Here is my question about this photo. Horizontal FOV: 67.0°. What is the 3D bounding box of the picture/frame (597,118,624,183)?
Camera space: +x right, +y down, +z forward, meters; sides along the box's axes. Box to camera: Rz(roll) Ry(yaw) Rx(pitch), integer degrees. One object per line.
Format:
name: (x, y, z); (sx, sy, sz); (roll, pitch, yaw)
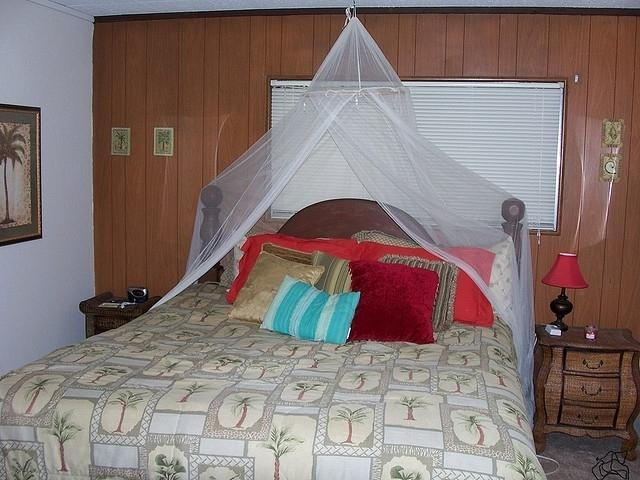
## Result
picture/frame: (2.111, -0.654, 3.526); (0.146, 0.445, 0.073); (3, 11, 12)
